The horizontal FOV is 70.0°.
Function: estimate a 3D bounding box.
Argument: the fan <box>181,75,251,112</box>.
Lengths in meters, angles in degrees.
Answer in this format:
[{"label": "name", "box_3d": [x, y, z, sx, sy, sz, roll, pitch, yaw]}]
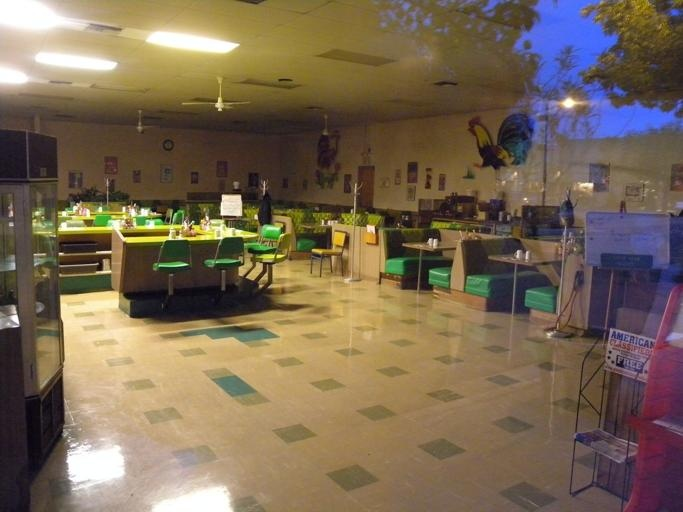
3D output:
[{"label": "fan", "box_3d": [-2.588, -3.462, 10.438, 1.365, 0.682, 1.394, 18, 22, 38]}]

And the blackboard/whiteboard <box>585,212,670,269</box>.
[{"label": "blackboard/whiteboard", "box_3d": [2.504, -0.127, 4.201, 0.840, 0.547, 0.432, -5, 14, -28]}]
